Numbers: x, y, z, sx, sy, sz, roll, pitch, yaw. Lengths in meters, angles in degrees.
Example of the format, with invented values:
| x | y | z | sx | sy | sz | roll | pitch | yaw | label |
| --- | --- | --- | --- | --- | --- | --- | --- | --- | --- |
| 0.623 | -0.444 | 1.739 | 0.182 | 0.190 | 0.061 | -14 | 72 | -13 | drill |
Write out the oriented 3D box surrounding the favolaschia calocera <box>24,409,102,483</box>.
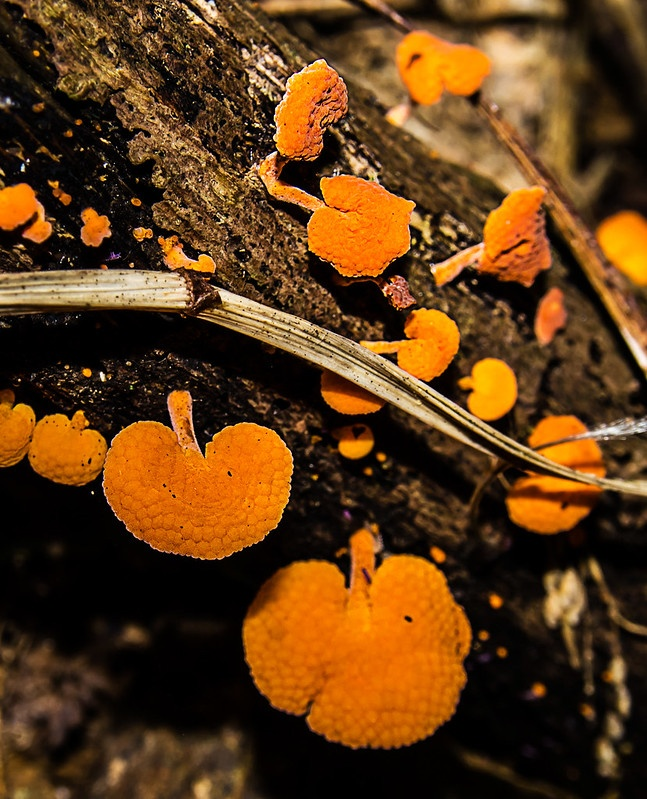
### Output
| x | y | z | sx | sy | sz | roll | pitch | yaw | label |
| --- | --- | --- | --- | --- | --- | --- | --- | --- | --- |
| -1.230 | 0.209 | 4.168 | 0.288 | 0.288 | 0.188 | 17 | 28 | -10 | favolaschia calocera |
